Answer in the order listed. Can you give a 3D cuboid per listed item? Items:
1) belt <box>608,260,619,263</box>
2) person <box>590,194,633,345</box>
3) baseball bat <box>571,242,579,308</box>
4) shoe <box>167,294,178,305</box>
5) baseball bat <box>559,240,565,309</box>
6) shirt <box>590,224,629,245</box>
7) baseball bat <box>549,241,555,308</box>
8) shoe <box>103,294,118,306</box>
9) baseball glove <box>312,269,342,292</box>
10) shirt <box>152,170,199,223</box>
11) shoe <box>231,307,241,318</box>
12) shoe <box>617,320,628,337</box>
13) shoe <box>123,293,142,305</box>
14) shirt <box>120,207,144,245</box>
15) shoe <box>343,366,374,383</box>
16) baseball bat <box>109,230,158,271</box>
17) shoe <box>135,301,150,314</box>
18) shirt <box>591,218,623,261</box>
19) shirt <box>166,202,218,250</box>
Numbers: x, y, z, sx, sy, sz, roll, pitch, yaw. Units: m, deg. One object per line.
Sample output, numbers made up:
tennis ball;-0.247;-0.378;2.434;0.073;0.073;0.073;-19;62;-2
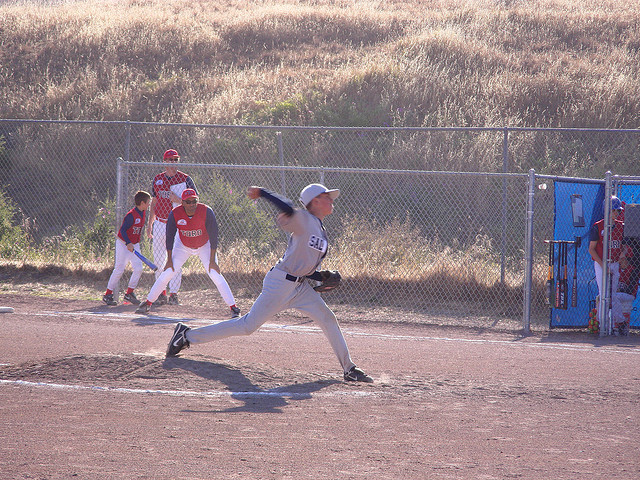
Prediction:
belt;6.641;0.495;26.508;0.241;0.074;0.044;5;-4;-26
person;6.584;0.617;26.587;0.899;3.088;0.445;2;-3;13
baseball bat;5.895;0.815;26.946;0.142;1.475;0.110;3;-3;-5
shoe;-3.497;1.422;27.873;0.223;0.257;0.178;3;1;13
baseball bat;5.557;0.809;26.785;0.111;1.499;0.140;2;-3;13
shirt;6.419;-0.161;26.527;0.521;0.596;0.308;0;2;15
baseball bat;5.339;0.798;26.817;0.107;1.496;0.134;2;-3;6
shoe;-4.967;1.419;27.614;0.390;0.306;0.164;6;5;-17
baseball glove;0.161;0.815;23.428;0.248;0.383;0.485;7;1;-29
shirt;-3.514;-0.938;27.933;1.302;1.422;0.516;-1;-9;17
shoe;-1.881;1.612;26.473;0.165;0.293;0.258;0;12;25
shoe;6.911;2.007;26.603;0.231;0.347;0.082;-3;-1;-3
shoe;-4.425;1.394;27.648;0.408;0.220;0.158;23;11;-1
shirt;-4.423;-0.245;27.424;0.635;0.789;0.475;-12;16;-11
shoe;0.780;2.686;23.444;0.598;0.316;0.258;1;-2;4
baseball bat;-4.486;0.299;28.255;1.252;0.178;0.170;43;24;3
shoe;-4.064;1.541;26.793;0.326;0.286;0.252;4;-3;-12
shirt;6.511;0.021;26.616;0.647;1.432;1.216;1;2;24
shirt;-2.875;-0.253;26.413;1.208;1.138;0.688;-1;9;10
